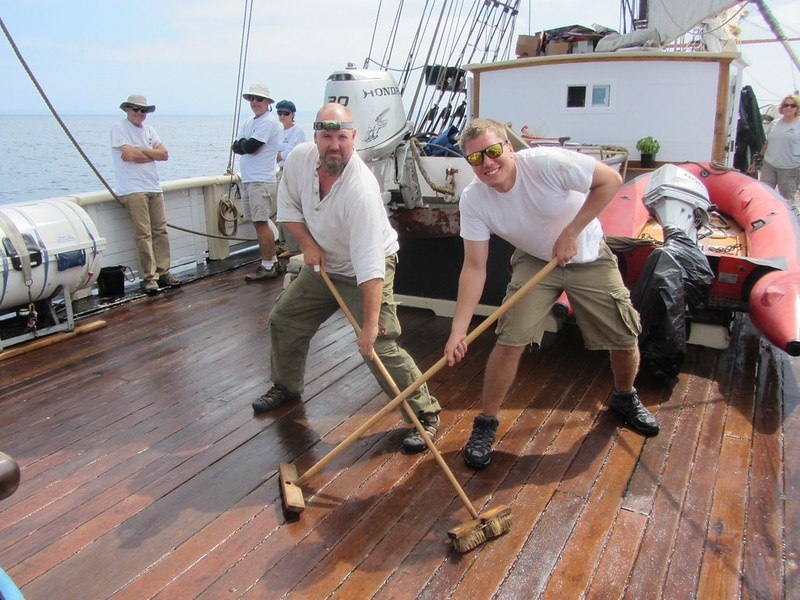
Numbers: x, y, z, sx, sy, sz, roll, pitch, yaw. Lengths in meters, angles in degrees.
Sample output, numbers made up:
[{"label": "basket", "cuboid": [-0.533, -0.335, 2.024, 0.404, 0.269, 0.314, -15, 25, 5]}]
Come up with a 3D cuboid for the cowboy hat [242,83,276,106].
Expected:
[{"label": "cowboy hat", "cuboid": [-1.537, -2.292, 5.382, 0.267, 0.120, 0.268, 16, -13, -42]}]

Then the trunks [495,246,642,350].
[{"label": "trunks", "cuboid": [0.967, -0.010, 2.763, 0.798, 0.709, 0.316, -3, -1, 3]}]

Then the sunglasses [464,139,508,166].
[{"label": "sunglasses", "cuboid": [0.400, -0.659, 2.249, 0.205, 0.101, 0.103, -6, 17, -8]}]

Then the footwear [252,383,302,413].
[{"label": "footwear", "cuboid": [-0.786, 0.603, 3.180, 0.311, 0.130, 0.118, -9, 15, -41]}]

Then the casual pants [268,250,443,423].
[{"label": "casual pants", "cuboid": [-0.289, 0.262, 3.119, 1.011, 1.826, 0.422, 14, 62, 0]}]

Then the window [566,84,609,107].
[{"label": "window", "cuboid": [2.001, -2.163, 5.299, 0.439, 0.257, 0.063, 2, 19, 18]}]

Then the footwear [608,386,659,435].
[{"label": "footwear", "cuboid": [1.300, 0.609, 2.864, 0.125, 0.163, 0.351, -40, 46, -13]}]

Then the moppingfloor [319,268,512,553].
[{"label": "moppingfloor", "cuboid": [0.055, 0.432, 2.405, 0.133, 0.486, 1.422, 10, 47, -50]}]

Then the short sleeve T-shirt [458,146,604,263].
[{"label": "short sleeve T-shirt", "cuboid": [0.636, -0.448, 2.435, 0.688, 0.562, 0.216, -2, 18, 7]}]

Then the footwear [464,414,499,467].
[{"label": "footwear", "cuboid": [0.431, 0.732, 2.630, 0.121, 0.147, 0.325, 5, 13, 14]}]

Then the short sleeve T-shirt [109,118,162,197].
[{"label": "short sleeve T-shirt", "cuboid": [-2.677, -1.435, 5.004, 0.514, 0.720, 0.356, -15, 21, -33]}]

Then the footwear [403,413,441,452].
[{"label": "footwear", "cuboid": [0.112, 0.725, 2.739, 0.111, 0.115, 0.299, 0, 2, 19]}]

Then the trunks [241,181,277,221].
[{"label": "trunks", "cuboid": [-1.617, -1.118, 5.574, 0.282, 0.467, 0.477, -7, 15, -36]}]

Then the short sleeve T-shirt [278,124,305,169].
[{"label": "short sleeve T-shirt", "cuboid": [-1.404, -1.969, 6.197, 0.280, 0.498, 0.463, -22, 50, -27]}]
